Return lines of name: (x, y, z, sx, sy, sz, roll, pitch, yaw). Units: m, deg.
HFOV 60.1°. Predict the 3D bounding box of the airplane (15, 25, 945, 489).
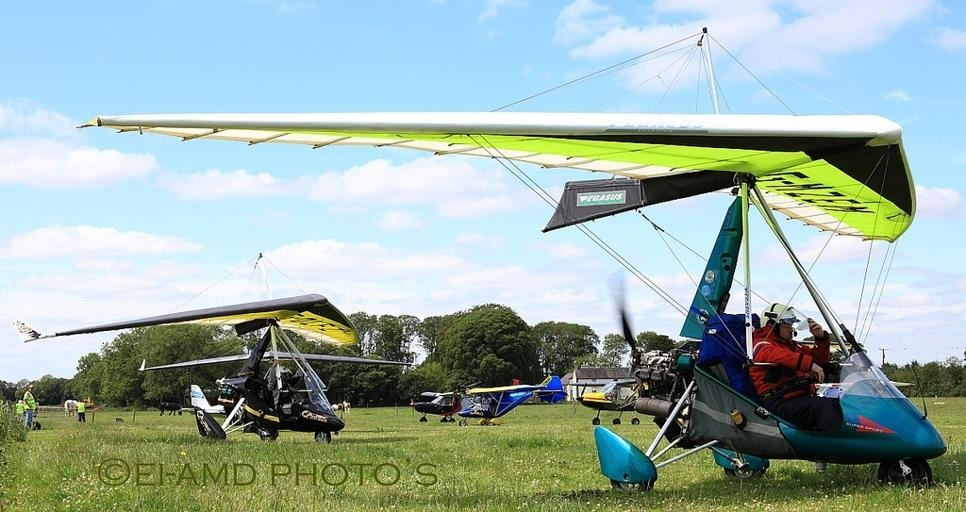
airplane: (1.547, -0.355, 16.883, 12.349, 3.392, 11.762, -1, -1, 24)
